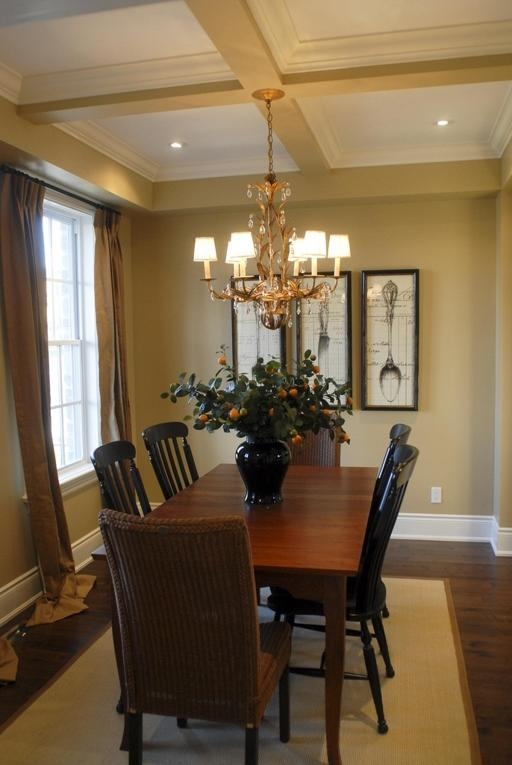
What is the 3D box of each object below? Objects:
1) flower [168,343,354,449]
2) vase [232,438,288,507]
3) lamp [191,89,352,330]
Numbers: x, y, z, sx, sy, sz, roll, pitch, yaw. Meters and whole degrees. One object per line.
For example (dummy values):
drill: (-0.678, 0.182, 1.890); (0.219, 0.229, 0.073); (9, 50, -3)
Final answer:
flower: (0.013, 0.069, 2.162); (0.699, 0.347, 0.590); (1, 5, 9)
vase: (0.039, 0.337, 2.175); (0.226, 0.279, 0.243); (0, -5, -2)
lamp: (0.080, -0.809, 2.714); (0.733, 1.070, 0.713); (-5, 13, -11)
